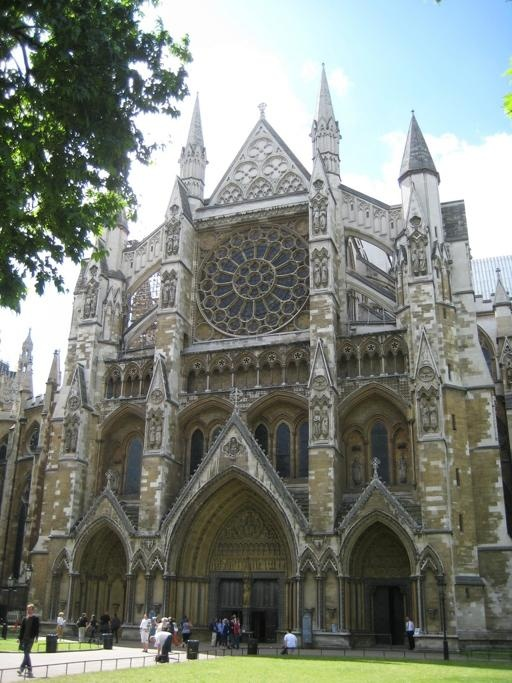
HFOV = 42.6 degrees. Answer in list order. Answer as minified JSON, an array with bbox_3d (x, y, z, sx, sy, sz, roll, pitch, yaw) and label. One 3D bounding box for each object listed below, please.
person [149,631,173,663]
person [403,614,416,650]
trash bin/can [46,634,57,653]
[{"bbox_3d":[-2.268,7.471,16.037,0.350,0.654,1.118,3,-23,-8],"label":"person"},{"bbox_3d":[5.130,9.768,21.842,0.262,0.890,0.760,-6,-23,12],"label":"person"},{"bbox_3d":[-5.574,8.280,17.979,0.284,0.431,0.402,5,-23,-15],"label":"trash bin/can"}]
